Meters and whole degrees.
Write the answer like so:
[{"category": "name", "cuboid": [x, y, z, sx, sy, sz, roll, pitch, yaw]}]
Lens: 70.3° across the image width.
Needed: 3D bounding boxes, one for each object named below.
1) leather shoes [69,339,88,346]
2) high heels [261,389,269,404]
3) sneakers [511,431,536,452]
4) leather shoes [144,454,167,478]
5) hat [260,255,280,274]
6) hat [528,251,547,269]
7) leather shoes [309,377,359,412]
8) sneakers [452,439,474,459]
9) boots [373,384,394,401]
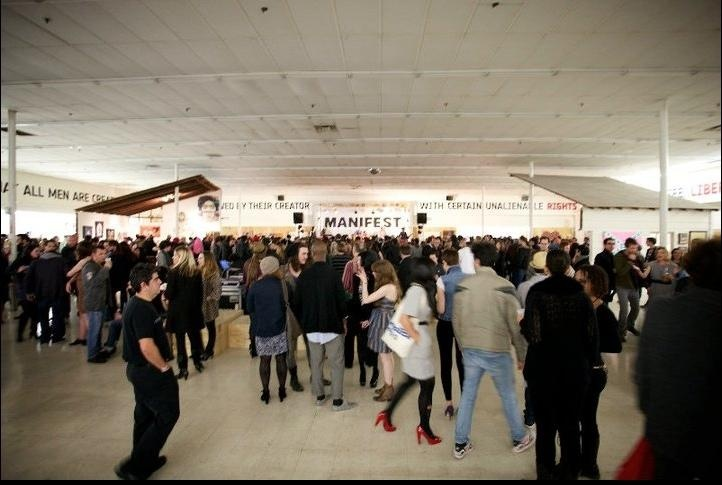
[{"category": "leather shoes", "cuboid": [-5.154, 1.850, 9.410, 0.341, 0.128, 0.110, 4, -4, -9]}, {"category": "high heels", "cuboid": [-1.384, 2.265, 7.521, 0.103, 0.149, 0.221, 0, 19, -7]}, {"category": "sneakers", "cuboid": [2.104, 2.603, 6.651, 0.413, 0.172, 0.149, -11, 5, -42]}, {"category": "leather shoes", "cuboid": [-2.550, 2.802, 6.413, 0.101, 0.122, 0.301, 23, 20, 7]}, {"category": "hat", "cuboid": [-1.313, 0.339, 7.414, 0.288, 0.232, 0.205, -26, 50, -12]}, {"category": "hat", "cuboid": [2.337, 0.243, 6.800, 0.196, 0.247, 0.230, 0, 2, 17]}, {"category": "leather shoes", "cuboid": [-0.388, 2.303, 7.450, 0.707, 0.276, 0.219, -1, 3, -2]}, {"category": "sneakers", "cuboid": [1.275, 2.652, 6.554, 0.132, 0.120, 0.301, 2, 6, 28]}, {"category": "boots", "cuboid": [0.410, 2.224, 7.582, 0.460, 0.183, 0.143, -2, 8, 3]}]
